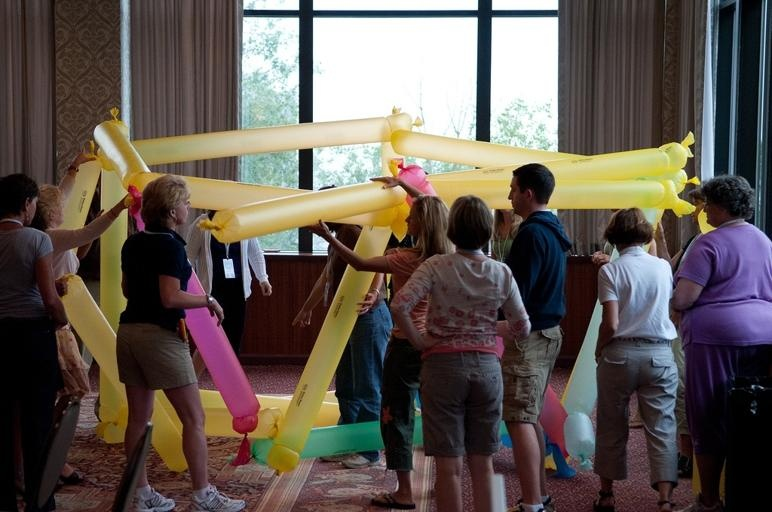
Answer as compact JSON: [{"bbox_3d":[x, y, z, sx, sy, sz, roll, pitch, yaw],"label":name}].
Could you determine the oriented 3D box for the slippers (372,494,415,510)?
[{"bbox_3d":[0.046,1.545,4.108,0.251,0.086,0.104,4,-5,7],"label":"slippers"}]

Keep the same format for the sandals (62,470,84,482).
[{"bbox_3d":[-2.094,1.473,4.353,0.140,0.043,0.056,3,2,-16],"label":"sandals"}]

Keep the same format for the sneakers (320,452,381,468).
[{"bbox_3d":[-0.251,1.460,4.647,0.227,0.086,0.162,4,-9,-5],"label":"sneakers"}]
